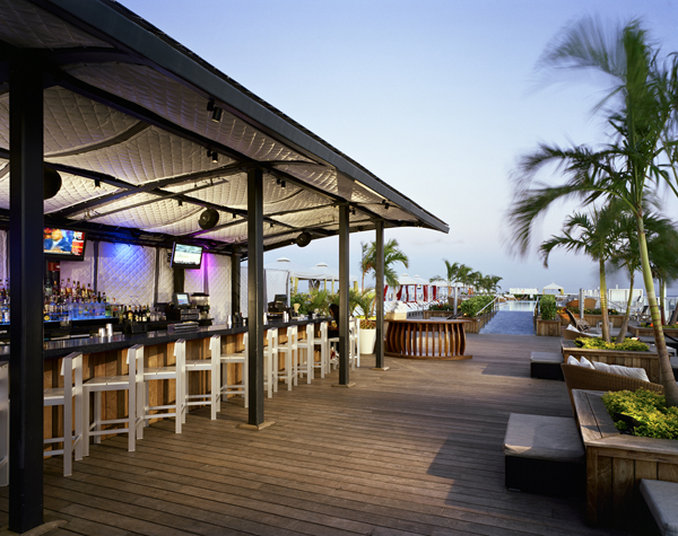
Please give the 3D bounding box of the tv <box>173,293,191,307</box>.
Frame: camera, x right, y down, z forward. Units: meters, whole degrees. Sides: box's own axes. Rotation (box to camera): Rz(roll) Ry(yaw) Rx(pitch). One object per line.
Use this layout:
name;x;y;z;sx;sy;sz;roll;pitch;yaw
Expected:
tv;-3.029;0.616;9.034;0.217;0.287;0.392;-17;-11;18

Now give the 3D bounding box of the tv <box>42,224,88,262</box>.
tv;-4.675;-0.441;8.000;0.105;0.545;0.800;4;0;32

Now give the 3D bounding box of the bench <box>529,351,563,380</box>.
bench;3.646;1.750;8.302;0.548;0.350;0.771;-2;2;17

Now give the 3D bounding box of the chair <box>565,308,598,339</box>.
chair;8.080;1.881;15.739;1.316;1.079;0.942;-2;-2;19

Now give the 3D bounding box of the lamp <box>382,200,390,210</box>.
lamp;0.787;-1.087;7.853;0.092;0.087;0.163;2;-5;2

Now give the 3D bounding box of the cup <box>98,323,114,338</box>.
cup;-2.932;0.809;5.947;0.215;0.144;0.350;2;-1;-35

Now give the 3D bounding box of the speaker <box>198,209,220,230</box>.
speaker;-2.316;-0.891;8.354;0.309;0.415;0.222;10;-5;35

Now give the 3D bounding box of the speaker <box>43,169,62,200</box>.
speaker;-3.443;-1.052;5.665;0.167;0.378;0.432;-1;-2;-29

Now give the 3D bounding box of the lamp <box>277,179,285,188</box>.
lamp;-0.752;-1.112;6.095;0.098;0.123;0.177;-2;-2;1

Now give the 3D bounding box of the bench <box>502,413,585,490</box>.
bench;1.739;1.615;4.023;0.493;0.310;0.654;0;-4;15

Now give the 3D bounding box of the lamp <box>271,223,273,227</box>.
lamp;-1.486;-0.960;10.510;0.058;0.102;0.057;-1;1;12

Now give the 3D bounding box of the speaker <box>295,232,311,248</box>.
speaker;-0.807;-0.671;10.901;0.321;0.344;0.370;-2;-2;1

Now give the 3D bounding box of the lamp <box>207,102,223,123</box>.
lamp;-1.031;-1.309;3.928;0.099;0.153;0.157;3;7;2
